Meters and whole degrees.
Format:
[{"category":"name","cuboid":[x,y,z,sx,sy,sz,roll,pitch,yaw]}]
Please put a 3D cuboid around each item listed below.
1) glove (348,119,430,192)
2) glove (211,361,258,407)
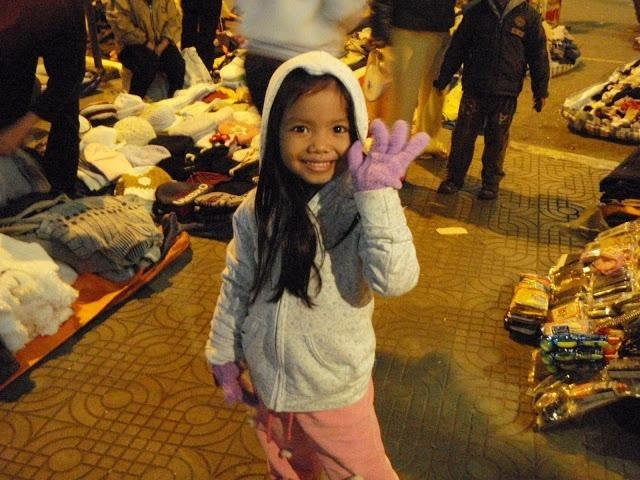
[{"category":"glove","cuboid":[0.220,-0.280,1.489,0.239,0.212,0.196,-8,32,-12]},{"category":"glove","cuboid":[-0.347,0.602,1.919,0.208,0.179,0.059,-4,11,2]}]
